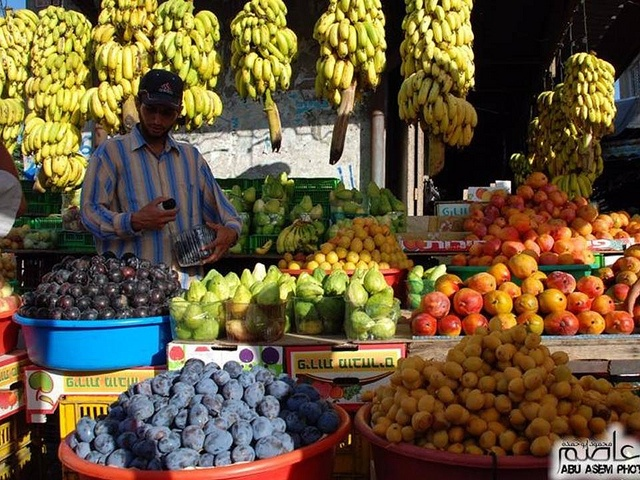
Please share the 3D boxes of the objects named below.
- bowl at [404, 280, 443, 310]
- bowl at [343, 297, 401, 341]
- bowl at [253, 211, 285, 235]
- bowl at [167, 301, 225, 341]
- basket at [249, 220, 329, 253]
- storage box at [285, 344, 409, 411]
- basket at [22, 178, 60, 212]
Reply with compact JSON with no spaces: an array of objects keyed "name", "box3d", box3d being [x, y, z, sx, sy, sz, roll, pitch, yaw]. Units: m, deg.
[{"name":"bowl","box3d":[0.688,0.371,4.339,0.160,0.162,0.185,1,-2,-27]},{"name":"bowl","box3d":[0.308,0.445,3.688,0.205,0.178,0.231,-2,-2,13]},{"name":"bowl","box3d":[-0.530,-0.178,6.461,0.218,0.183,0.233,3,-12,1]},{"name":"bowl","box3d":[-0.680,0.423,3.785,0.270,0.245,0.487,-3,9,0]},{"name":"basket","box3d":[-0.332,-0.036,6.332,0.697,0.334,0.623,-9,15,-38]},{"name":"storage box","box3d":[0.161,0.723,3.600,0.765,0.348,0.689,-2,11,2]},{"name":"basket","box3d":[-3.124,-0.513,7.133,0.415,0.308,0.450,0,-4,-19]}]
